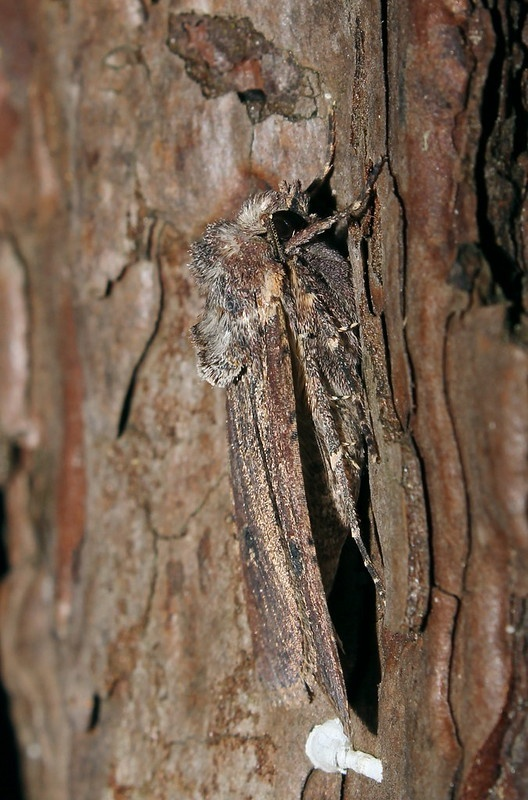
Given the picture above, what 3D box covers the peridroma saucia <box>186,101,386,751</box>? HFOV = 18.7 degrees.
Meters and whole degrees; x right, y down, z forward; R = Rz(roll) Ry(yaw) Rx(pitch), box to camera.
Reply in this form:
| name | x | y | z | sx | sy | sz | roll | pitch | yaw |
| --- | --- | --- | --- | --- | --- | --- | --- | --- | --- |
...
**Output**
| name | x | y | z | sx | sy | sz | roll | pitch | yaw |
| --- | --- | --- | --- | --- | --- | --- | --- | --- | --- |
| peridroma saucia | 0.018 | 0.063 | 2.318 | 0.187 | 0.466 | 0.699 | -2 | 89 | -20 |
